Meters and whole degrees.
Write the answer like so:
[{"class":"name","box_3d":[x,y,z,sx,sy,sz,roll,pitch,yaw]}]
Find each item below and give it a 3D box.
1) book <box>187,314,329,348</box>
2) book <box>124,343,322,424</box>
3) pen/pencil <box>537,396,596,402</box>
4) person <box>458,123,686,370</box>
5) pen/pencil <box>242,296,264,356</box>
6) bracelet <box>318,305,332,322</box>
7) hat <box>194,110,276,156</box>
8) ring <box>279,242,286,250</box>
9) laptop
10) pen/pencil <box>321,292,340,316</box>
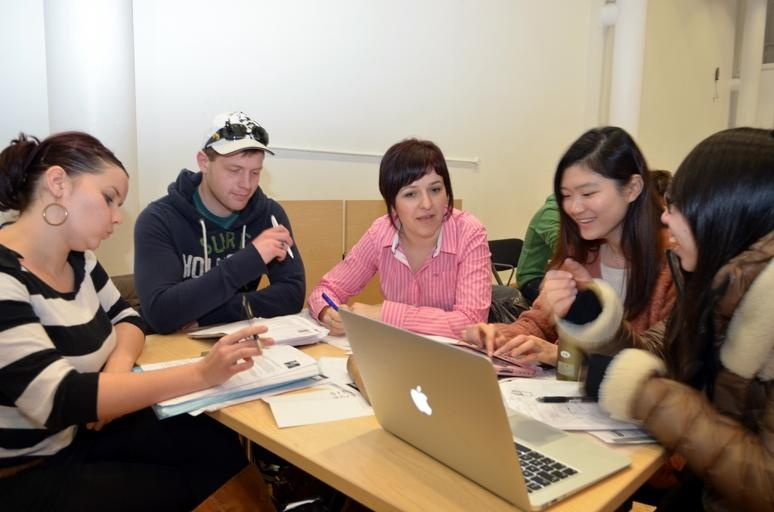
[{"class":"book","box_3d":[-0.384,0.278,1.885,0.250,0.038,0.232,0,3,36]},{"class":"book","box_3d":[-0.415,0.384,1.534,0.366,0.074,0.340,-11,14,-33]},{"class":"pen/pencil","box_3d":[0.519,0.420,1.469,0.146,0.017,0.017,2,-3,-3]},{"class":"person","box_3d":[0.540,-0.073,2.149,0.967,0.998,0.659,3,2,-24]},{"class":"pen/pencil","box_3d":[-0.462,0.239,1.721,0.023,0.175,0.023,-16,-4,5]},{"class":"bracelet","box_3d":[-0.252,0.232,2.041,0.033,0.058,0.032,-17,54,-20]},{"class":"hat","box_3d":[-0.629,-0.492,2.146,0.186,0.126,0.241,7,-1,-37]},{"class":"ring","box_3d":[-0.440,-0.043,2.137,0.016,0.025,0.026,24,-5,34]},{"class":"laptop","box_3d":[0.295,0.243,1.254,0.475,0.342,0.542,-7,14,-39]},{"class":"pen/pencil","box_3d":[-0.234,0.198,2.048,0.024,0.024,0.128,-40,38,0]}]
